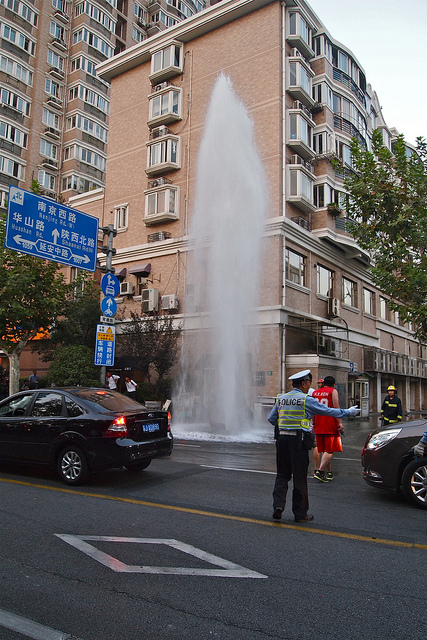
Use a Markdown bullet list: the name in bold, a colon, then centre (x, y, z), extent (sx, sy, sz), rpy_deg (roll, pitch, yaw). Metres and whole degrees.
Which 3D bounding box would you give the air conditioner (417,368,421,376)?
- **air conditioner**: centre (15.651, 3.999, 41.614), extent (0.194, 0.507, 1.155), rpy_deg (-1, -7, 23)

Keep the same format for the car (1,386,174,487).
- **car**: centre (-2.062, 1.607, 8.147), extent (2.595, 0.984, 1.243), rpy_deg (-1, -8, 33)

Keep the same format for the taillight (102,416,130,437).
- **taillight**: centre (-1.292, 1.425, 7.270), extent (0.301, 0.206, 0.198), rpy_deg (-16, -21, 31)

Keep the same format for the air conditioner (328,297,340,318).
- **air conditioner**: centre (6.143, -0.632, 28.077), extent (0.302, 0.954, 0.922), rpy_deg (-2, -7, 18)

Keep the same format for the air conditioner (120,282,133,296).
- **air conditioner**: centre (-4.642, -1.685, 29.140), extent (0.715, 0.656, 0.337), rpy_deg (-4, -9, 40)

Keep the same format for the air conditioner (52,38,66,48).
- **air conditioner**: centre (-13.443, -24.081, 47.381), extent (0.244, 0.418, 1.499), rpy_deg (-22, -22, 26)

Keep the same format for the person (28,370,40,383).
- **person**: centre (-9.912, 3.116, 30.142), extent (0.780, 0.838, 0.442), rpy_deg (8, -20, -34)

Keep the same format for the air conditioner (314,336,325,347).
- **air conditioner**: centre (5.120, 1.044, 26.608), extent (0.417, 0.621, 0.605), rpy_deg (-4, -8, 26)

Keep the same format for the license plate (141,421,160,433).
- **license plate**: centre (-0.901, 1.532, 7.787), extent (0.041, 0.136, 0.438), rpy_deg (-2, -7, 26)

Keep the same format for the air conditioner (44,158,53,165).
- **air conditioner**: centre (-13.775, -13.239, 45.595), extent (0.327, 0.624, 0.625), rpy_deg (-11, -10, 41)

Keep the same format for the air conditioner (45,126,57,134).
- **air conditioner**: centre (-13.701, -15.989, 46.050), extent (0.320, 0.634, 1.082), rpy_deg (-3, -8, 33)

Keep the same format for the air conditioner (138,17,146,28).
- **air conditioner**: centre (-7.109, -29.327, 53.677), extent (0.673, 0.512, 2.986), rpy_deg (7, 19, -9)

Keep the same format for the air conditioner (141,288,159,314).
- **air conditioner**: centre (-3.190, -0.993, 27.698), extent (0.572, 1.306, 0.906), rpy_deg (6, -8, -37)

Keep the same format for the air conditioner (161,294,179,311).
- **air conditioner**: centre (-2.104, -0.856, 26.874), extent (0.460, 0.844, 0.975), rpy_deg (8, -9, -44)

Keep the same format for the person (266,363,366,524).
- **person**: centre (1.006, 1.358, 5.879), extent (0.885, 1.538, 0.559), rpy_deg (2, -7, 18)

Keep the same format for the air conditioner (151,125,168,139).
- **air conditioner**: centre (-2.911, -10.030, 29.187), extent (0.313, 0.703, 1.320), rpy_deg (7, -9, -41)
